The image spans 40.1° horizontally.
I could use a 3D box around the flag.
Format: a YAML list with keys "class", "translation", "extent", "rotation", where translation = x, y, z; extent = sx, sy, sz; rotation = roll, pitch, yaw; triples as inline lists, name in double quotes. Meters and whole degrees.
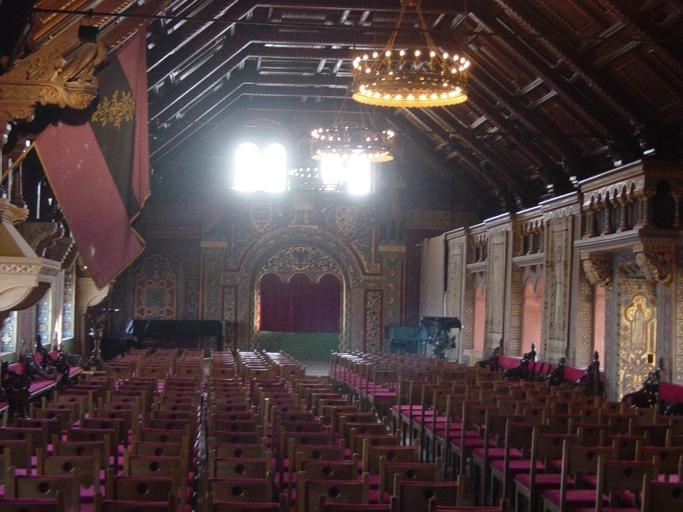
- class: "flag"
  translation: [-3.515, -1.389, 13.263]
  extent: [1.383, 3.710, 0.500]
  rotation: [3, -7, -14]
